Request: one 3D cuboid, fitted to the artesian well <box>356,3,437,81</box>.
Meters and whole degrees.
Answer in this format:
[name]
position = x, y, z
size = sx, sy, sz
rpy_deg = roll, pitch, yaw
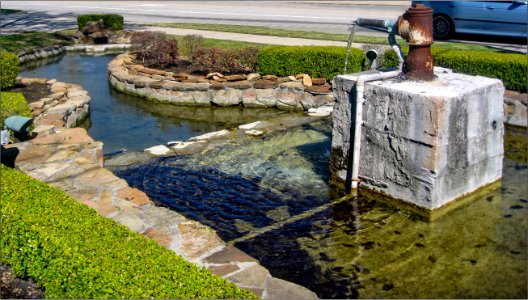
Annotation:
[artesian well]
position = 3.363, -2.432, 8.069
size = 0.651, 1.534, 1.199
rpy_deg = -12, 32, -15
